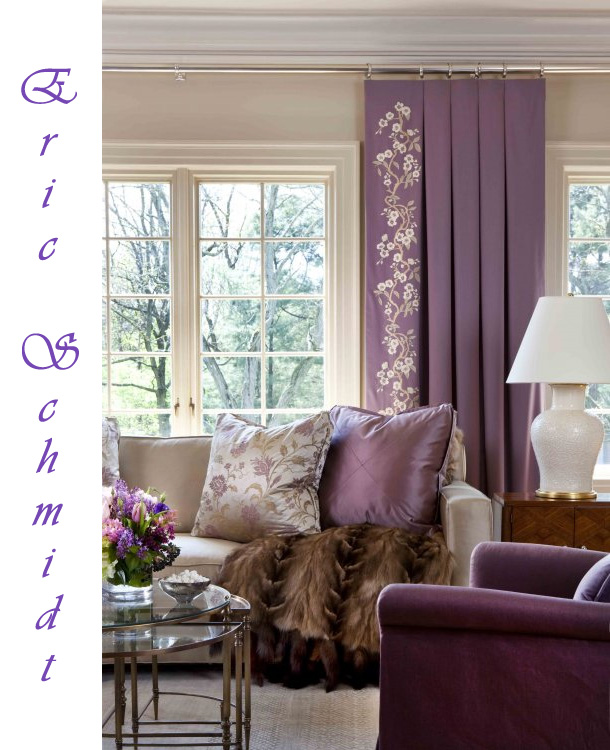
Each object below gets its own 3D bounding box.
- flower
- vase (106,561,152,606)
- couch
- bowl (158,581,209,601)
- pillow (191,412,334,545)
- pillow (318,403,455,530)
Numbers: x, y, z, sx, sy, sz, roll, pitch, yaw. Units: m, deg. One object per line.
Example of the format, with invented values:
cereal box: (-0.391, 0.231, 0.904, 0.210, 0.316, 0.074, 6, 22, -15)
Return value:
flower: (-0.359, 0.372, 1.758, 0.184, 0.206, 0.197, 17, -34, -27)
vase: (-0.366, 0.442, 1.732, 0.112, 0.101, 0.102, 1, -6, 1)
couch: (0.159, 0.514, 3.235, 0.897, 0.863, 1.836, -27, -17, 27)
bowl: (-0.267, 0.479, 1.778, 0.058, 0.022, 0.056, 0, -6, 0)
pillow: (-0.161, 0.354, 2.776, 0.519, 0.432, 0.263, -5, -3, 35)
pillow: (0.258, 0.315, 2.729, 0.491, 0.410, 0.256, -2, 4, 38)
